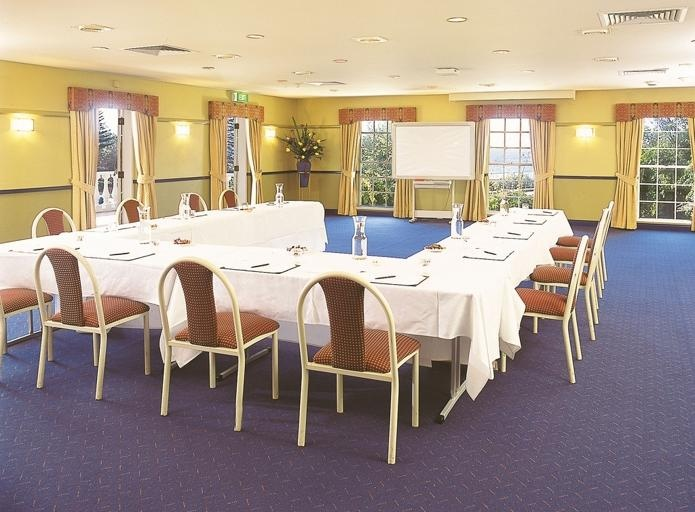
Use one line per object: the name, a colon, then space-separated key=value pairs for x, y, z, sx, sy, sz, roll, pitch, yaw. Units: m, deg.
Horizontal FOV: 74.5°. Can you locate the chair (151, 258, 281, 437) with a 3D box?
chair: x=-0.857 y=0.520 z=3.141 sx=0.583 sy=1.105 sz=0.675 roll=4 pitch=9 yaw=15

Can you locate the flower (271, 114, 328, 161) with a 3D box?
flower: x=-1.375 y=-3.380 z=13.270 sx=1.326 sy=0.914 sz=1.165 roll=9 pitch=12 yaw=40

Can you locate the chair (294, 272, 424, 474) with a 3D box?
chair: x=0.100 y=0.591 z=2.784 sx=0.623 sy=1.103 sz=0.701 roll=5 pitch=10 yaw=28

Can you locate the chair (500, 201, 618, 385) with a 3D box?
chair: x=2.071 y=0.372 z=4.491 sx=0.614 sy=0.945 sz=1.875 roll=3 pitch=7 yaw=23

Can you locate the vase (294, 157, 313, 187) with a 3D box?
vase: x=-1.234 y=-2.353 z=12.998 sx=0.353 sy=0.765 sz=0.260 roll=-5 pitch=12 yaw=-26

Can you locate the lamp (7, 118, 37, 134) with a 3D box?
lamp: x=-5.126 y=-2.066 z=7.223 sx=0.204 sy=0.262 sz=0.369 roll=2 pitch=2 yaw=8
